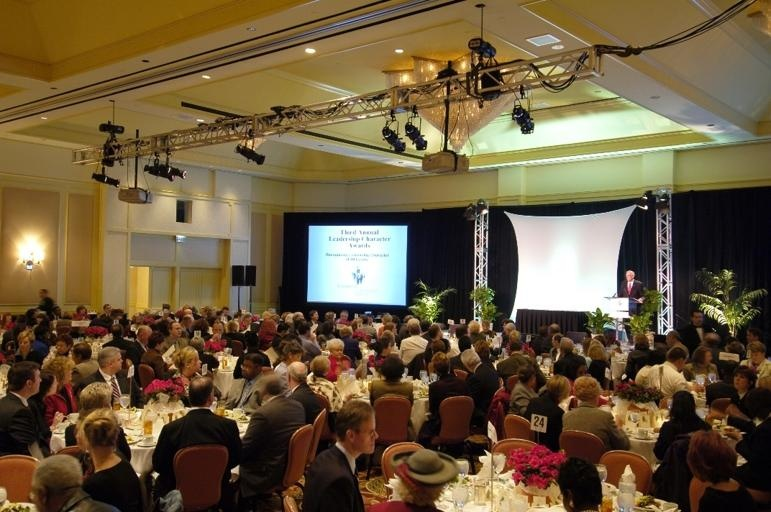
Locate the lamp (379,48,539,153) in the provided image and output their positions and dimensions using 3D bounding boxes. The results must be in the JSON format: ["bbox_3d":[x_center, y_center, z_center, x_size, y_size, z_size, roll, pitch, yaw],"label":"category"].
[{"bbox_3d":[1.486,-3.338,12.359,2.192,1.294,2.147,-1,-5,1],"label":"lamp"}]

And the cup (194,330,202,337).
[{"bbox_3d":[-4.002,1.660,12.500,0.190,0.184,0.168,2,-2,-24],"label":"cup"}]

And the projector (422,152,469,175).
[{"bbox_3d":[1.083,-1.784,10.841,0.805,0.445,0.628,1,-3,2],"label":"projector"}]

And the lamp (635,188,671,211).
[{"bbox_3d":[7.387,-1.564,16.122,0.796,0.626,0.822,-1,-3,29],"label":"lamp"}]

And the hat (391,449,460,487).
[{"bbox_3d":[0.295,1.672,4.599,0.372,0.099,0.344,6,13,28],"label":"hat"}]

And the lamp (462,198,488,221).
[{"bbox_3d":[2.859,-1.483,18.824,0.524,0.647,0.861,2,-5,-28],"label":"lamp"}]

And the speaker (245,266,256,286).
[{"bbox_3d":[-4.849,0.699,20.890,0.350,0.710,0.346,1,-2,-12],"label":"speaker"}]

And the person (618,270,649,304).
[{"bbox_3d":[6.848,0.886,16.145,0.624,1.133,0.411,-15,-33,43],"label":"person"}]

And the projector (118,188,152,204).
[{"bbox_3d":[-6.510,-1.447,15.084,0.596,0.395,0.818,0,-5,13],"label":"projector"}]
